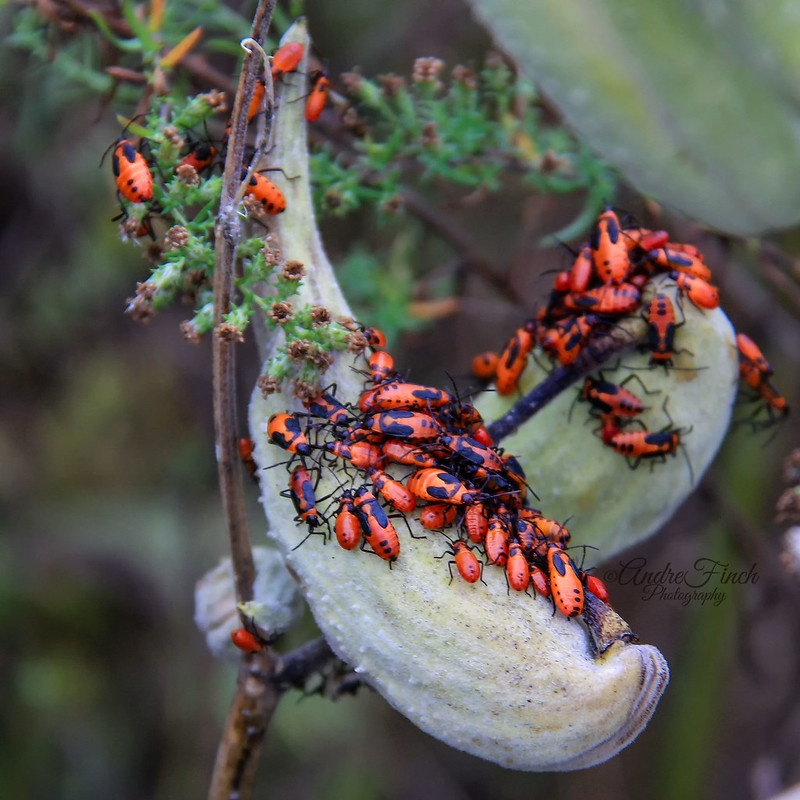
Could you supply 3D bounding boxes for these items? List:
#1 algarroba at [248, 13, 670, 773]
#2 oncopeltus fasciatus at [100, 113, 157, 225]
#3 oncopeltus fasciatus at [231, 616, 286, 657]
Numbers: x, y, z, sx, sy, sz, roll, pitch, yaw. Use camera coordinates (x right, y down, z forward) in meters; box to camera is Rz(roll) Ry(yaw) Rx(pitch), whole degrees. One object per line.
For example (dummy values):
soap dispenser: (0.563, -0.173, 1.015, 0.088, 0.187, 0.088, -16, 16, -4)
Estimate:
algarroba: (0.063, 0.075, 2.259, 0.507, 0.608, 1.523, -29, 77, 22)
oncopeltus fasciatus: (-0.578, -0.518, 2.274, 0.199, 0.083, 0.262, -20, 60, 32)
oncopeltus fasciatus: (-0.321, 0.552, 2.244, 0.113, 0.102, 0.040, 10, 32, -5)
